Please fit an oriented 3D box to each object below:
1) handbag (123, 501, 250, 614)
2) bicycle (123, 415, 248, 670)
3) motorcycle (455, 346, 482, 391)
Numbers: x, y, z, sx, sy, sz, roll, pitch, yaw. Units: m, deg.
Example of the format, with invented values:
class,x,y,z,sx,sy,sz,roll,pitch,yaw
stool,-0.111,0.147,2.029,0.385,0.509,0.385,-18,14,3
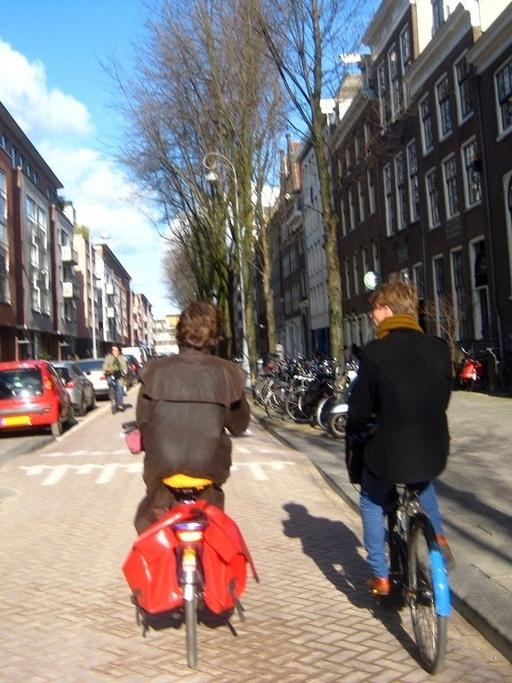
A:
class,x,y,z,sx,sy,sz,roll,pitch,yaw
handbag,-0.243,0.822,1.829,0.516,0.450,0.366,0,-7,-17
bicycle,-0.261,0.788,2.061,0.380,0.658,0.958,-1,4,-5
motorcycle,8.175,1.114,18.565,0.726,1.586,1.666,-2,-7,3
